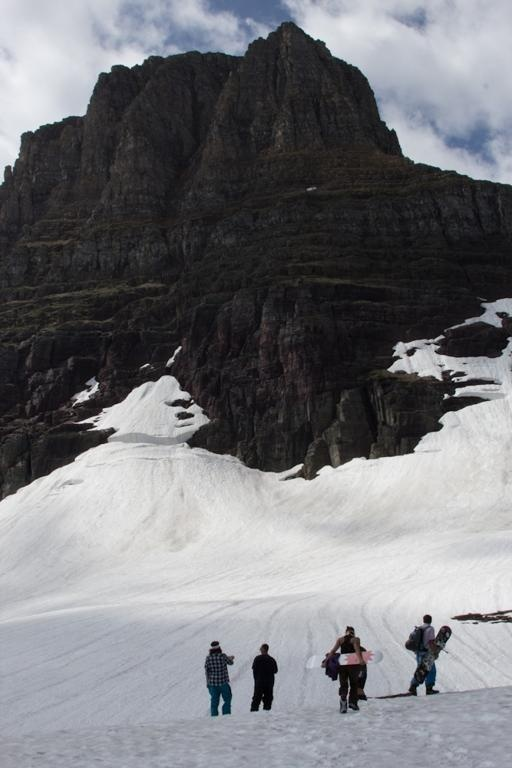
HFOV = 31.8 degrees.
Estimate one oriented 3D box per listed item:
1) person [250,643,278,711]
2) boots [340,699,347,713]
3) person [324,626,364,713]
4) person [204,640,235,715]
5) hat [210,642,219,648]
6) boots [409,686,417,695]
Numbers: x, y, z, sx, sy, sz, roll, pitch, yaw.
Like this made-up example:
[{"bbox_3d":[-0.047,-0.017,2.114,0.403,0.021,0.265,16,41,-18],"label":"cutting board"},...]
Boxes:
[{"bbox_3d":[0.135,4.332,13.225,0.388,0.998,0.327,2,10,-10],"label":"person"},{"bbox_3d":[1.198,4.420,12.354,0.106,0.193,0.248,-5,-4,5],"label":"boots"},{"bbox_3d":[1.216,4.018,12.536,0.567,1.013,0.707,-5,-4,1],"label":"person"},{"bbox_3d":[-0.539,4.421,13.476,0.396,1.195,1.436,-5,-4,-4],"label":"person"},{"bbox_3d":[-0.597,3.888,13.365,0.157,0.071,0.209,1,-9,1],"label":"hat"},{"bbox_3d":[2.276,4.463,13.052,0.153,0.134,0.086,-6,-5,10],"label":"boots"}]
